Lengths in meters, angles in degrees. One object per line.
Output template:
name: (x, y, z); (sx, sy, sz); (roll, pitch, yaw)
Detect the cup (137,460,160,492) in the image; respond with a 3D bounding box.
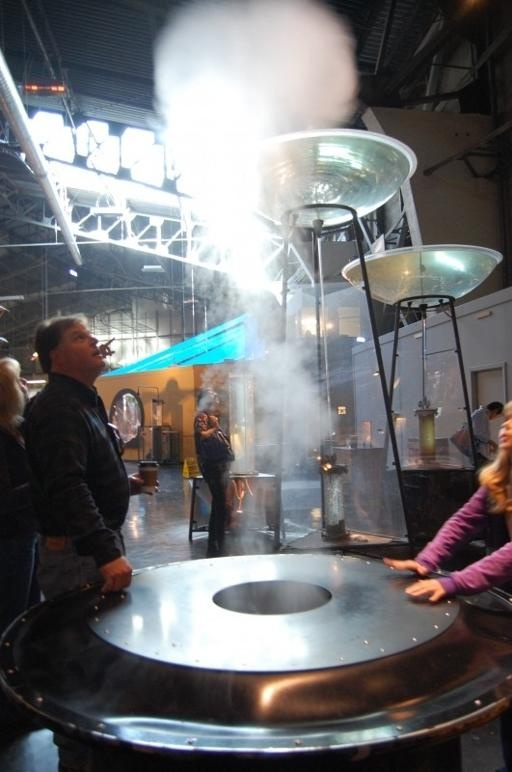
cup: (-0.447, 0.390, 2.566); (0.130, 0.139, 0.131); (-1, -8, 0)

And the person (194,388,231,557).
person: (-0.346, 0.742, 5.119); (0.310, 1.266, 1.006); (-3, 3, -5)

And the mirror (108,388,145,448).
mirror: (-3.513, 0.845, 16.478); (0.093, 1.800, 1.454); (6, -19, -37)

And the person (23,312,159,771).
person: (-0.587, 0.418, 1.924); (0.360, 1.320, 0.762); (-3, 3, -13)
